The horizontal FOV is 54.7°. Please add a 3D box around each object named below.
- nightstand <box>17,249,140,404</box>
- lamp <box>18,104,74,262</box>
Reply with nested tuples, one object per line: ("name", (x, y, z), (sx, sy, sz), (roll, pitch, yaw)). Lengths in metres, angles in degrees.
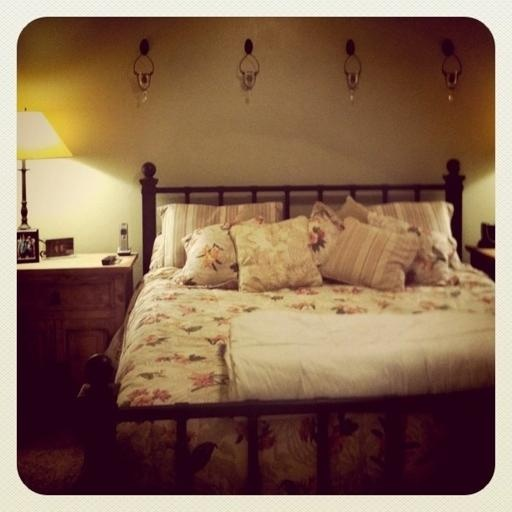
("nightstand", (-0.820, 0.288, 2.426), (0.526, 0.869, 0.477), (1, 6, -1))
("lamp", (-1.048, -0.353, 2.467), (0.245, 0.772, 0.366), (-1, 1, -26))
